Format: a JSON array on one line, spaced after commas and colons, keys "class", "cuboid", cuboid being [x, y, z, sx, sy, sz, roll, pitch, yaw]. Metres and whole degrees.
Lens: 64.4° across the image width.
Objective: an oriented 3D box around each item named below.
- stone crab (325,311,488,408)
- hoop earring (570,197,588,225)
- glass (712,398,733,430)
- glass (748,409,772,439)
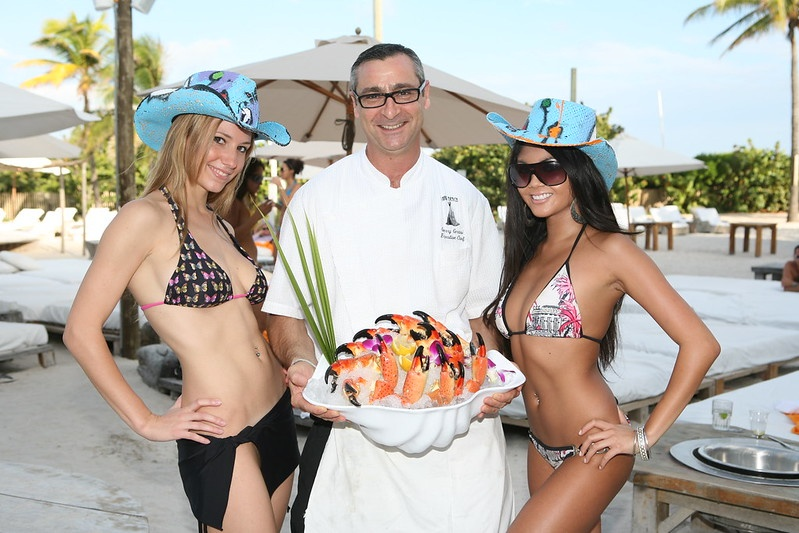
[{"class": "stone crab", "cuboid": [0.118, 0.486, 3.362, 0.656, 0.259, 0.814, 14, 16, 29]}, {"class": "hoop earring", "cuboid": [1.074, -0.318, 3.786, 0.030, 0.125, 0.117, -4, 11, -21]}, {"class": "glass", "cuboid": [2.528, 1.136, 4.949, 0.186, 0.231, 0.185, -2, -2, 45]}, {"class": "glass", "cuboid": [2.668, 1.166, 4.720, 0.110, 0.160, 0.223, 4, 8, 30]}]
